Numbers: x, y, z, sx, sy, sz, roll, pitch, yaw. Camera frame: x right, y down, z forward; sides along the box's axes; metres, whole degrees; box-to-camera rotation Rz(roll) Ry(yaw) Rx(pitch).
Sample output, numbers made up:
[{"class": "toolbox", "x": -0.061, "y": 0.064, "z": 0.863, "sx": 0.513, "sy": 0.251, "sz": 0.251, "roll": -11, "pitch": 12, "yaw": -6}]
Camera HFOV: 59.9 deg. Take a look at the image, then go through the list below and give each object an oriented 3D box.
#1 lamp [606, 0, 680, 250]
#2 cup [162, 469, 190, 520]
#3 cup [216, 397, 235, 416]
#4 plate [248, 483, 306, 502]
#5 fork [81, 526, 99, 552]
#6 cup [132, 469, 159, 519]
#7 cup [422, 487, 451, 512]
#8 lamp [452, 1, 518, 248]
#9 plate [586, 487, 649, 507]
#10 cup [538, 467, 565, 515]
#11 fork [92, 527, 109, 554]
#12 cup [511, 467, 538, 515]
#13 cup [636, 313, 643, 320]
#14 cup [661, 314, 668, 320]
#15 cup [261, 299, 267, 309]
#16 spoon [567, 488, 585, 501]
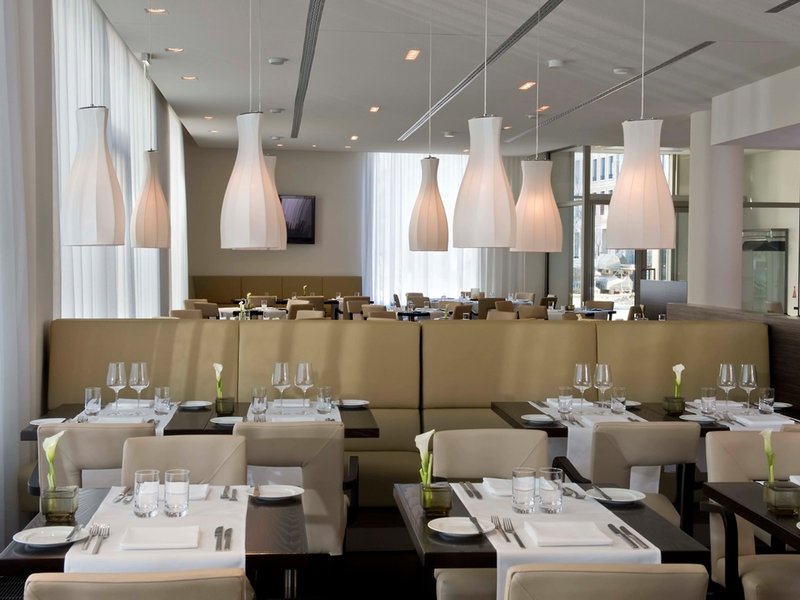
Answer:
[{"class": "lamp", "x": 1.492, "y": -0.730, "z": 4.309, "sx": 0.404, "sy": 0.819, "sz": 0.213, "roll": -1, "pitch": 1, "yaw": 19}, {"class": "cup", "x": -0.838, "y": 0.719, "z": 2.590, "sx": 0.100, "sy": 0.128, "sz": 0.072, "roll": -1, "pitch": 1, "yaw": -5}, {"class": "cup", "x": -1.063, "y": 0.645, "z": 4.220, "sx": 0.096, "sy": 0.077, "sz": 0.096, "roll": 2, "pitch": 3, "yaw": 0}, {"class": "plate", "x": -0.503, "y": 0.791, "z": 2.832, "sx": 0.209, "sy": 0.040, "sz": 0.157, "roll": -2, "pitch": 1, "yaw": -17}, {"class": "fork", "x": -1.067, "y": 0.821, "z": 2.397, "sx": 0.026, "sy": 0.017, "sz": 0.113, "roll": 4, "pitch": 21, "yaw": -13}, {"class": "cup", "x": -0.960, "y": 0.722, "z": 2.628, "sx": 0.090, "sy": 0.133, "sz": 0.146, "roll": -2, "pitch": 1, "yaw": -24}, {"class": "cup", "x": 0.146, "y": 0.753, "z": 2.654, "sx": 0.091, "sy": 0.097, "sz": 0.093, "roll": 1, "pitch": 1, "yaw": 0}, {"class": "lamp", "x": 0.491, "y": -0.695, "z": 4.081, "sx": 0.370, "sy": 0.763, "sz": 0.204, "roll": -1, "pitch": 1, "yaw": 7}, {"class": "plate", "x": 0.879, "y": 0.802, "z": 2.834, "sx": 0.227, "sy": 0.032, "sz": 0.200, "roll": -1, "pitch": 1, "yaw": 2}, {"class": "cup", "x": 0.598, "y": 0.731, "z": 2.686, "sx": 0.071, "sy": 0.165, "sz": 0.151, "roll": 0, "pitch": 1, "yaw": 42}, {"class": "fork", "x": -1.035, "y": 0.830, "z": 2.394, "sx": 0.027, "sy": 0.015, "sz": 0.105, "roll": -3, "pitch": 14, "yaw": -8}, {"class": "cup", "x": 0.472, "y": 0.722, "z": 2.660, "sx": 0.130, "sy": 0.205, "sz": 0.137, "roll": -2, "pitch": -1, "yaw": 0}, {"class": "cup", "x": 3.966, "y": 0.273, "z": 11.572, "sx": 0.076, "sy": 0.114, "sz": 0.092, "roll": 1, "pitch": -8, "yaw": -2}, {"class": "cup", "x": 3.987, "y": 0.254, "z": 10.515, "sx": 0.070, "sy": 0.058, "sz": 0.074, "roll": 0, "pitch": -3, "yaw": 0}, {"class": "cup", "x": -2.152, "y": 0.061, "z": 11.008, "sx": 0.115, "sy": 0.206, "sz": 0.129, "roll": 0, "pitch": -3, "yaw": 0}, {"class": "spoon", "x": 0.705, "y": 0.790, "z": 2.827, "sx": 0.071, "sy": 0.019, "sz": 0.111, "roll": -2, "pitch": 1, "yaw": -30}]
